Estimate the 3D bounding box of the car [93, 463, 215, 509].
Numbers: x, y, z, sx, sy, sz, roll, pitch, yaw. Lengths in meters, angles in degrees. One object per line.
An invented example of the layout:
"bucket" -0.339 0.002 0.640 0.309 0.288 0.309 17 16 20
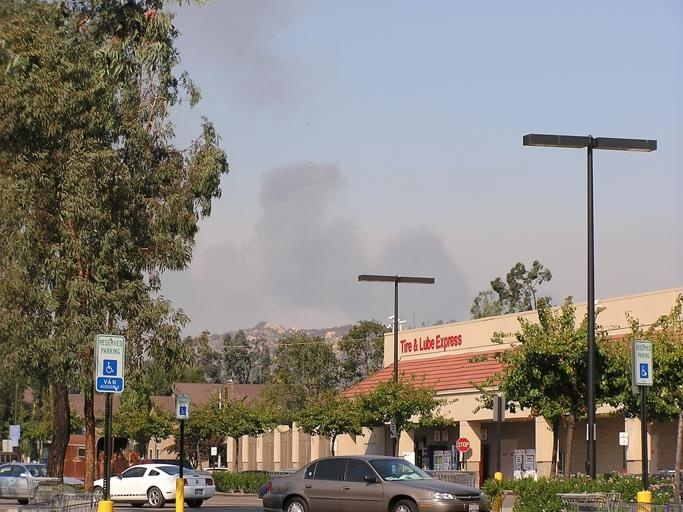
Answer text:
"car" -7.838 10.210 66.443 4.761 1.821 2.347 1 -6 33
